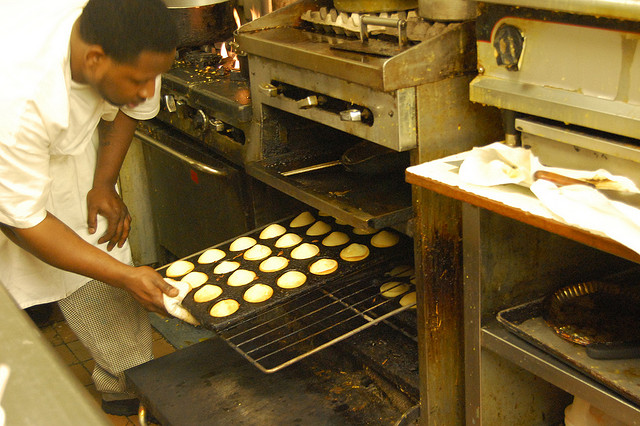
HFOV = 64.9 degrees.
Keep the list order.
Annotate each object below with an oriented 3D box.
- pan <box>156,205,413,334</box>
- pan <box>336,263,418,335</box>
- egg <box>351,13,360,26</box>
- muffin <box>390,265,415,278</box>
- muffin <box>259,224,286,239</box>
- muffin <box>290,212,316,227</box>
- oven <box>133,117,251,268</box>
[{"bbox_3d":[-0.130,0.221,2.225,0.985,0.105,0.663,-18,24,-26],"label":"pan"},{"bbox_3d":[0.262,0.398,2.162,0.358,0.013,0.311,-22,36,-35],"label":"pan"},{"bbox_3d":[0.146,-0.765,1.993,0.032,0.043,0.076,-9,32,-4],"label":"egg"},{"bbox_3d":[0.359,0.248,2.227,0.066,0.016,0.060,-2,17,10],"label":"muffin"},{"bbox_3d":[-0.231,0.093,2.439,0.077,0.027,0.074,-9,20,15],"label":"muffin"},{"bbox_3d":[-0.084,0.036,2.522,0.069,0.026,0.090,4,21,38],"label":"muffin"},{"bbox_3d":[-0.737,-0.152,2.918,0.593,0.728,0.787,-21,33,-38],"label":"oven"}]
